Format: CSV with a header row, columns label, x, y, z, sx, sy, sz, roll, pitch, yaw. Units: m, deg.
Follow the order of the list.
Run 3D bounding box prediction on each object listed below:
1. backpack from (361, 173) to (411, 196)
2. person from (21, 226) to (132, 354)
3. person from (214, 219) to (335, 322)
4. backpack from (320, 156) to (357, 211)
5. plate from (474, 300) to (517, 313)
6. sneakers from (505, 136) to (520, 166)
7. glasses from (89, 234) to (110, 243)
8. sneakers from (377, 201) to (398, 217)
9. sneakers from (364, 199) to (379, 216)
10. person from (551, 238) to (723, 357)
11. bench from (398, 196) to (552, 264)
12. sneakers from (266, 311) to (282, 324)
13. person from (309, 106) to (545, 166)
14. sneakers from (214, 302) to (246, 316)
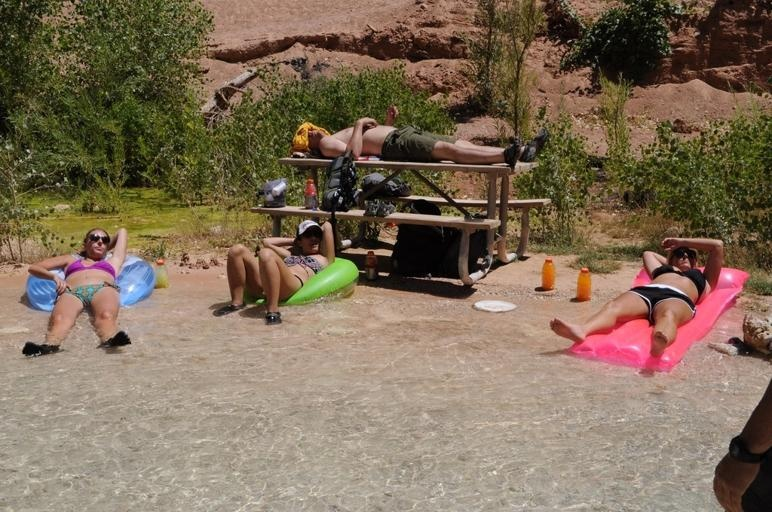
label,x,y,z,sx,sy,sz,roll,pitch,yaw
backpack,0.016,-0.993,10.407,0.461,0.181,0.393,5,13,-10
person,-3.311,0.377,8.029,1.080,0.576,2.549,0,28,-13
person,-1.264,0.123,8.537,0.842,0.992,1.401,4,8,23
backpack,-0.596,-0.950,9.626,0.447,0.725,0.251,-8,12,-44
plate,1.260,0.566,8.464,0.441,0.073,0.437,7,10,41
sneakers,1.560,-1.301,9.067,0.177,0.369,0.147,0,36,-4
glasses,-3.308,-0.199,8.555,0.133,0.041,0.134,8,-21,-36
sneakers,0.019,-0.622,9.582,0.119,0.146,0.361,1,10,15
sneakers,-0.168,-0.622,9.576,0.136,0.146,0.360,2,11,7
person,2.698,0.390,7.656,1.085,0.750,2.016,3,12,41
bench,1.396,-0.538,10.259,2.400,0.806,0.969,4,8,34
sneakers,-1.182,0.650,7.931,0.197,0.123,0.147,-3,9,-25
person,0.454,-1.450,9.770,3.047,0.605,1.169,7,3,19
sneakers,-1.714,0.570,8.205,0.121,0.080,0.324,3,7,45
